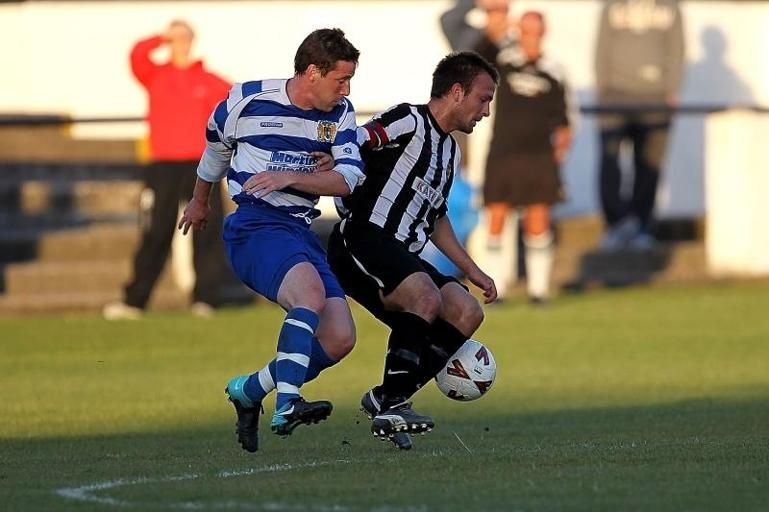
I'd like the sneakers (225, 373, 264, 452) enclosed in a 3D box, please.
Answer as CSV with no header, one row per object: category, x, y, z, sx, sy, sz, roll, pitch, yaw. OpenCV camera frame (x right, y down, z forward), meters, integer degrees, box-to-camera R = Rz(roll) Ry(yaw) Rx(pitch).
sneakers,-0.960,1.063,8.362,0.194,0.567,0.284,-7,-3,-38

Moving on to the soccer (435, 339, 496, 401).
soccer,0.577,0.816,8.754,0.348,0.401,0.351,-31,17,52

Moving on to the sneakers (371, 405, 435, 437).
sneakers,0.113,1.086,8.228,0.470,0.250,0.175,0,-36,2

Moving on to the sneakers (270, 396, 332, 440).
sneakers,-0.554,1.002,7.912,0.480,0.240,0.158,-20,-10,20

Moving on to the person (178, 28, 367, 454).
person,-0.578,-0.222,8.207,1.002,2.590,1.262,-5,12,-19
